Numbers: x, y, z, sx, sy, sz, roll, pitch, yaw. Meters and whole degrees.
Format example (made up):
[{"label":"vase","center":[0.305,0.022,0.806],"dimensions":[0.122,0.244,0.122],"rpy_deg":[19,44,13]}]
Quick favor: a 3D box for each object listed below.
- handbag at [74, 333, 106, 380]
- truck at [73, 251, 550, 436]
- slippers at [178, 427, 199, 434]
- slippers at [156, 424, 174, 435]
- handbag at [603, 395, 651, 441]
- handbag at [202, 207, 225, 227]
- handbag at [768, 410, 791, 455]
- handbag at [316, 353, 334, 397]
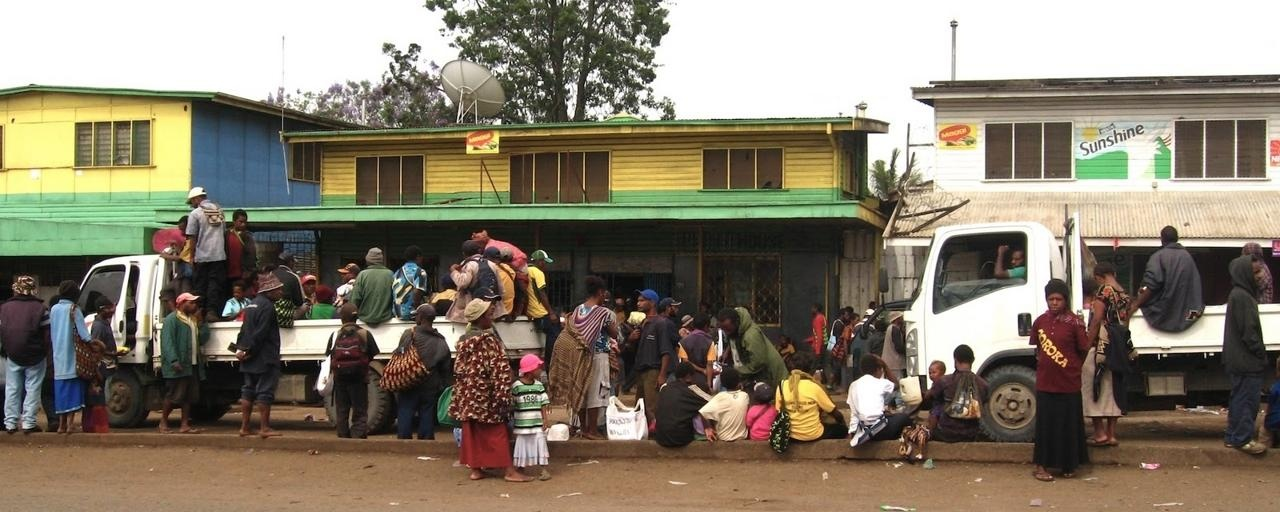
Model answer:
[{"label":"handbag","center":[-17.858,3.332,52.134],"dimensions":[0.920,1.440,0.335],"rpy_deg":[-2,-2,-19]},{"label":"truck","center":[-9.929,2.925,54.431],"dimensions":[18.144,4.755,5.639],"rpy_deg":[1,-4,0]},{"label":"slippers","center":[-14.638,5.640,52.209],"dimensions":[0.784,0.229,0.229],"rpy_deg":[-3,0,6]},{"label":"slippers","center":[-15.429,5.535,52.288],"dimensions":[0.522,0.311,0.832],"rpy_deg":[-1,-2,-19]},{"label":"handbag","center":[-0.435,5.185,50.853],"dimensions":[1.822,1.346,1.103],"rpy_deg":[0,-7,3]},{"label":"handbag","center":[-13.927,-1.318,52.384],"dimensions":[0.573,0.616,0.299],"rpy_deg":[-10,-11,-13]},{"label":"handbag","center":[4.373,5.479,50.270],"dimensions":[0.885,1.159,0.374],"rpy_deg":[2,-6,36]},{"label":"handbag","center":[-10.154,3.849,51.601],"dimensions":[0.458,1.222,0.745],"rpy_deg":[-2,-2,-18]}]
